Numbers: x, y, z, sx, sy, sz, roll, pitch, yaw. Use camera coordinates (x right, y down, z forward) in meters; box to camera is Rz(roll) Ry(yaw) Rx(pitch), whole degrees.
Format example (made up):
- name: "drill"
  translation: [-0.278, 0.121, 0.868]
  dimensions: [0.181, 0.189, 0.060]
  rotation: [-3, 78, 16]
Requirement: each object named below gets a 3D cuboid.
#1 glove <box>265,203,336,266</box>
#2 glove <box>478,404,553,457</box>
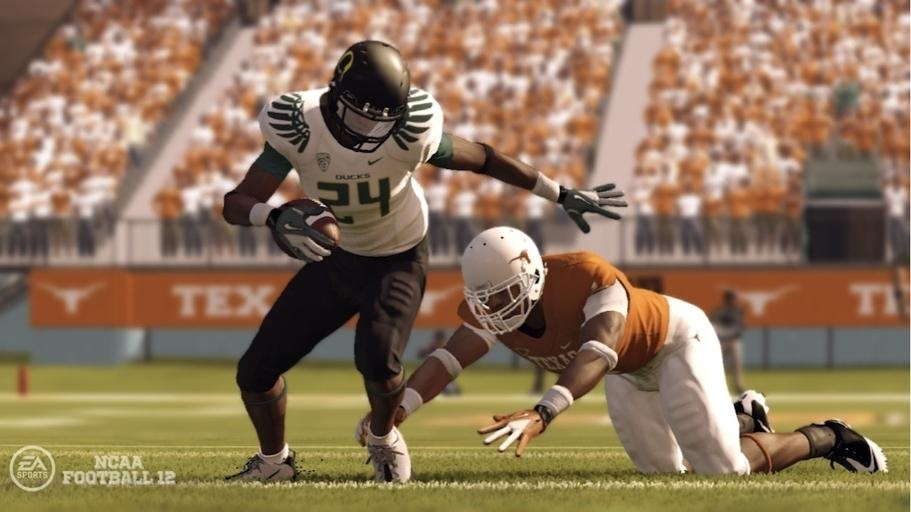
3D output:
- name: "glove"
  translation: [-1.663, -0.304, 19.118]
  dimensions: [0.823, 0.541, 0.549]
  rotation: [6, 8, -4]
- name: "glove"
  translation: [0.665, 1.860, 19.034]
  dimensions: [0.721, 0.561, 0.320]
  rotation: [-41, -12, -1]
